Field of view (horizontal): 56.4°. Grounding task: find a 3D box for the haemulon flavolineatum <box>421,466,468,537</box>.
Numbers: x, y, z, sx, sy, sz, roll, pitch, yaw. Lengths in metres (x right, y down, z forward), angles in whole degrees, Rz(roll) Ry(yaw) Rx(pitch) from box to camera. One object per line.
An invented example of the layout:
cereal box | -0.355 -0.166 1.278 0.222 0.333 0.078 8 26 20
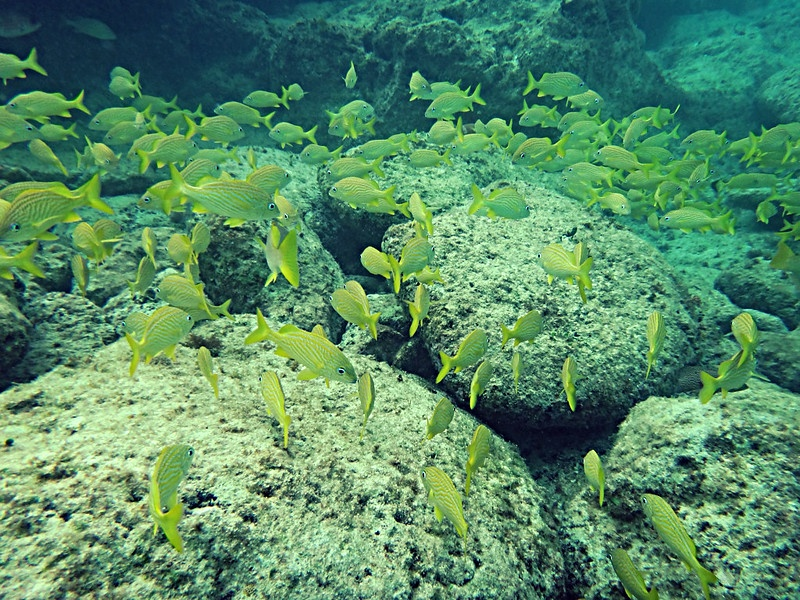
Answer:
haemulon flavolineatum | 0.572 2.759 10.077 0.251 0.397 0.955 -3 57 -48
